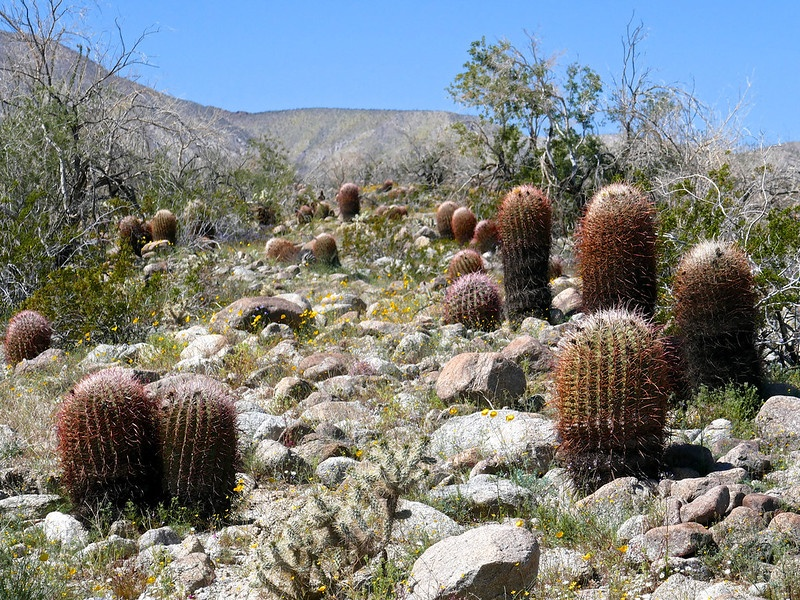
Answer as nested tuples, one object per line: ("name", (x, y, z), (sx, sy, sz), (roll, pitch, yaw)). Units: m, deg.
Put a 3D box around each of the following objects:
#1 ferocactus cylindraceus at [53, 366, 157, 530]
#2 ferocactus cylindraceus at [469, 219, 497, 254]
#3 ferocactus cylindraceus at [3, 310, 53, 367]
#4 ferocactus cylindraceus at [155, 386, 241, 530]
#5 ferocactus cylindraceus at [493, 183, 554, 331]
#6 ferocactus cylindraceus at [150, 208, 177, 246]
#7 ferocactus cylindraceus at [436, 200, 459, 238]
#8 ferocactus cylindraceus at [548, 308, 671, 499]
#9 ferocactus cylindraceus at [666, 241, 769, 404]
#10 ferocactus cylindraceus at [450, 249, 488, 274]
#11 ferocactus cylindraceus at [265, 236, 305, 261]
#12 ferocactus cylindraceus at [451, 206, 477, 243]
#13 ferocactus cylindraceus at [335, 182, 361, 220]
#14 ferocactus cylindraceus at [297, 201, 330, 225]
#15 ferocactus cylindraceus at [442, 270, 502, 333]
("ferocactus cylindraceus", (-2.487, 1.212, 7.592), (0.614, 0.976, 0.644), (-5, -8, -26))
("ferocactus cylindraceus", (1.405, -1.080, 15.542), (0.358, 0.546, 0.389), (-10, 26, -36))
("ferocactus cylindraceus", (-4.471, 0.497, 11.178), (0.550, 0.705, 0.504), (-2, -9, -38))
("ferocactus cylindraceus", (-1.653, 1.154, 7.689), (0.568, 1.020, 0.694), (5, 15, 14))
("ferocactus cylindraceus", (1.475, -0.526, 10.773), (0.620, 1.589, 0.422), (-5, 0, 8))
("ferocactus cylindraceus", (-4.413, -1.333, 17.260), (0.473, 0.664, 0.537), (-5, 0, -15))
("ferocactus cylindraceus", (0.908, -1.554, 17.755), (0.496, 0.767, 0.568), (5, 18, 28))
("ferocactus cylindraceus", (1.875, 0.830, 8.022), (1.048, 1.680, 1.194), (-3, -3, 5))
("ferocactus cylindraceus", (2.911, 0.171, 8.551), (0.730, 1.339, 0.398), (-5, 0, 22))
("ferocactus cylindraceus", (0.947, -0.513, 12.899), (0.345, 0.471, 0.357), (-5, 7, -32))
("ferocactus cylindraceus", (-2.085, -0.877, 16.655), (0.663, 0.453, 0.520), (-6, 0, -10))
("ferocactus cylindraceus", (1.121, -1.298, 16.556), (0.526, 0.926, 0.508), (0, -1, -6))
("ferocactus cylindraceus", (-1.234, -2.304, 21.913), (0.512, 0.893, 0.857), (-5, 0, 3))
("ferocactus cylindraceus", (-2.260, -2.165, 23.412), (0.774, 0.559, 0.748), (-1, 7, 40))
("ferocactus cylindraceus", (0.888, 0.031, 11.212), (0.558, 0.716, 0.634), (-1, 0, 4))
